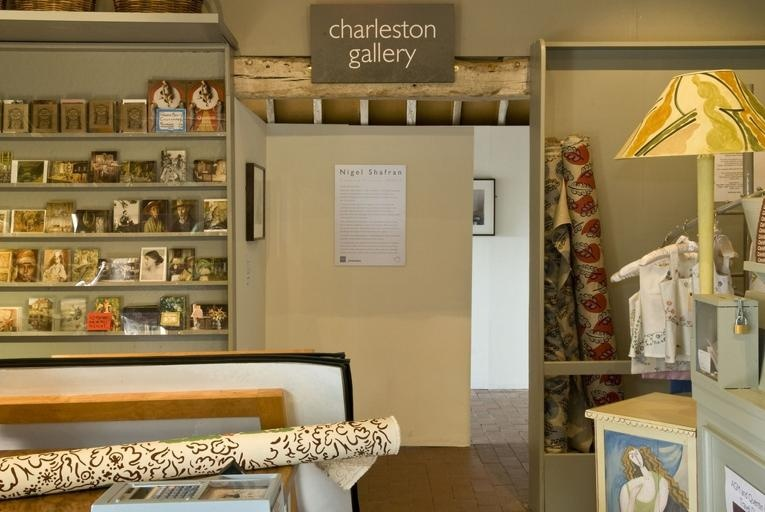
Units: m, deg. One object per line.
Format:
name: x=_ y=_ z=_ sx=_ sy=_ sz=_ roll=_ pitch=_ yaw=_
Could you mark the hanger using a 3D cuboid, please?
hanger: x=1.834 y=-0.188 z=3.905 sx=0.521 sy=0.309 sz=0.730 roll=-7 pitch=7 yaw=29
